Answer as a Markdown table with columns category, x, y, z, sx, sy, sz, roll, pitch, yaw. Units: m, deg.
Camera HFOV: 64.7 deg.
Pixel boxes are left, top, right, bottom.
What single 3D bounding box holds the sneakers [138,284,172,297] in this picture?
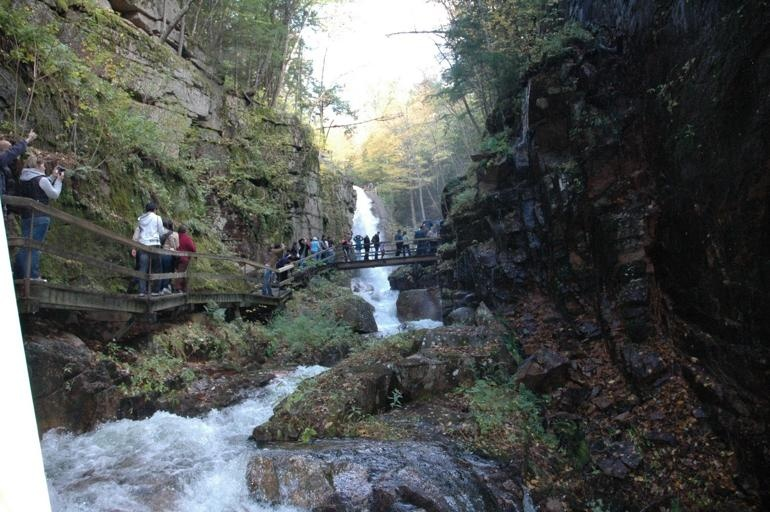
| category | x | y | z | sx | sy | sz | roll | pitch | yaw |
| --- | --- | --- | --- | --- | --- | --- | --- | --- | --- |
| sneakers | -5.966 | 0.873 | 15.688 | 0.658 | 0.300 | 0.228 | 2 | 26 | -26 |
